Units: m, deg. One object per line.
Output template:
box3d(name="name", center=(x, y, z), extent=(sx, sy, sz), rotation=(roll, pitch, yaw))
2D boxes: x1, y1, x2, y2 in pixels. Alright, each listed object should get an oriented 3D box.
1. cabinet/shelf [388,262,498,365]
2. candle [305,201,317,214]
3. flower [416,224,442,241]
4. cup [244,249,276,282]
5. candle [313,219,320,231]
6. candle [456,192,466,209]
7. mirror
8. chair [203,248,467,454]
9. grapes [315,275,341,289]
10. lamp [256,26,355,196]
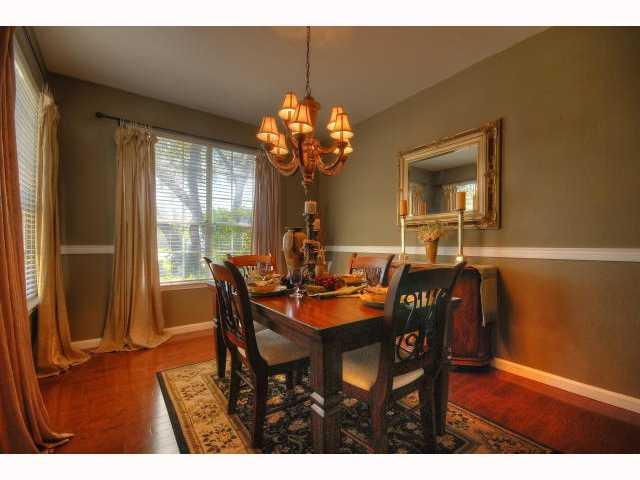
box3d(name="cabinet/shelf", center=(1.332, 0.753, 4.165), extent=(0.386, 0.865, 0.903), rotation=(11, -14, -31))
box3d(name="candle", center=(-0.072, -0.255, 3.306), extent=(0.081, 0.104, 0.152), rotation=(-1, 2, 7))
box3d(name="flower", center=(1.096, -0.072, 4.261), extent=(0.173, 0.115, 0.177), rotation=(-1, -2, -16))
box3d(name="cup", center=(-0.504, 0.205, 3.512), extent=(0.223, 0.322, 0.254), rotation=(2, 0, 19))
box3d(name="candle", center=(-0.021, -0.121, 3.400), extent=(0.046, 0.090, 0.126), rotation=(0, 2, 18))
box3d(name="candle", center=(1.311, -0.357, 3.944), extent=(0.073, 0.167, 0.061), rotation=(0, 3, 20))
box3d(name="mirror", center=(1.258, -0.579, 4.453), extent=(0.075, 1.011, 1.335), rotation=(0, -1, -31))
box3d(name="chair", center=(0.104, 0.822, 2.962), extent=(0.558, 0.847, 1.328), rotation=(-1, 0, -40))
box3d(name="grapes", center=(0.073, 0.313, 3.177), extent=(0.098, 0.063, 0.128), rotation=(-2, 6, -32))
box3d(name="lamp", center=(-0.101, -1.238, 3.635), extent=(0.875, 1.444, 0.808), rotation=(2, -4, -16))
